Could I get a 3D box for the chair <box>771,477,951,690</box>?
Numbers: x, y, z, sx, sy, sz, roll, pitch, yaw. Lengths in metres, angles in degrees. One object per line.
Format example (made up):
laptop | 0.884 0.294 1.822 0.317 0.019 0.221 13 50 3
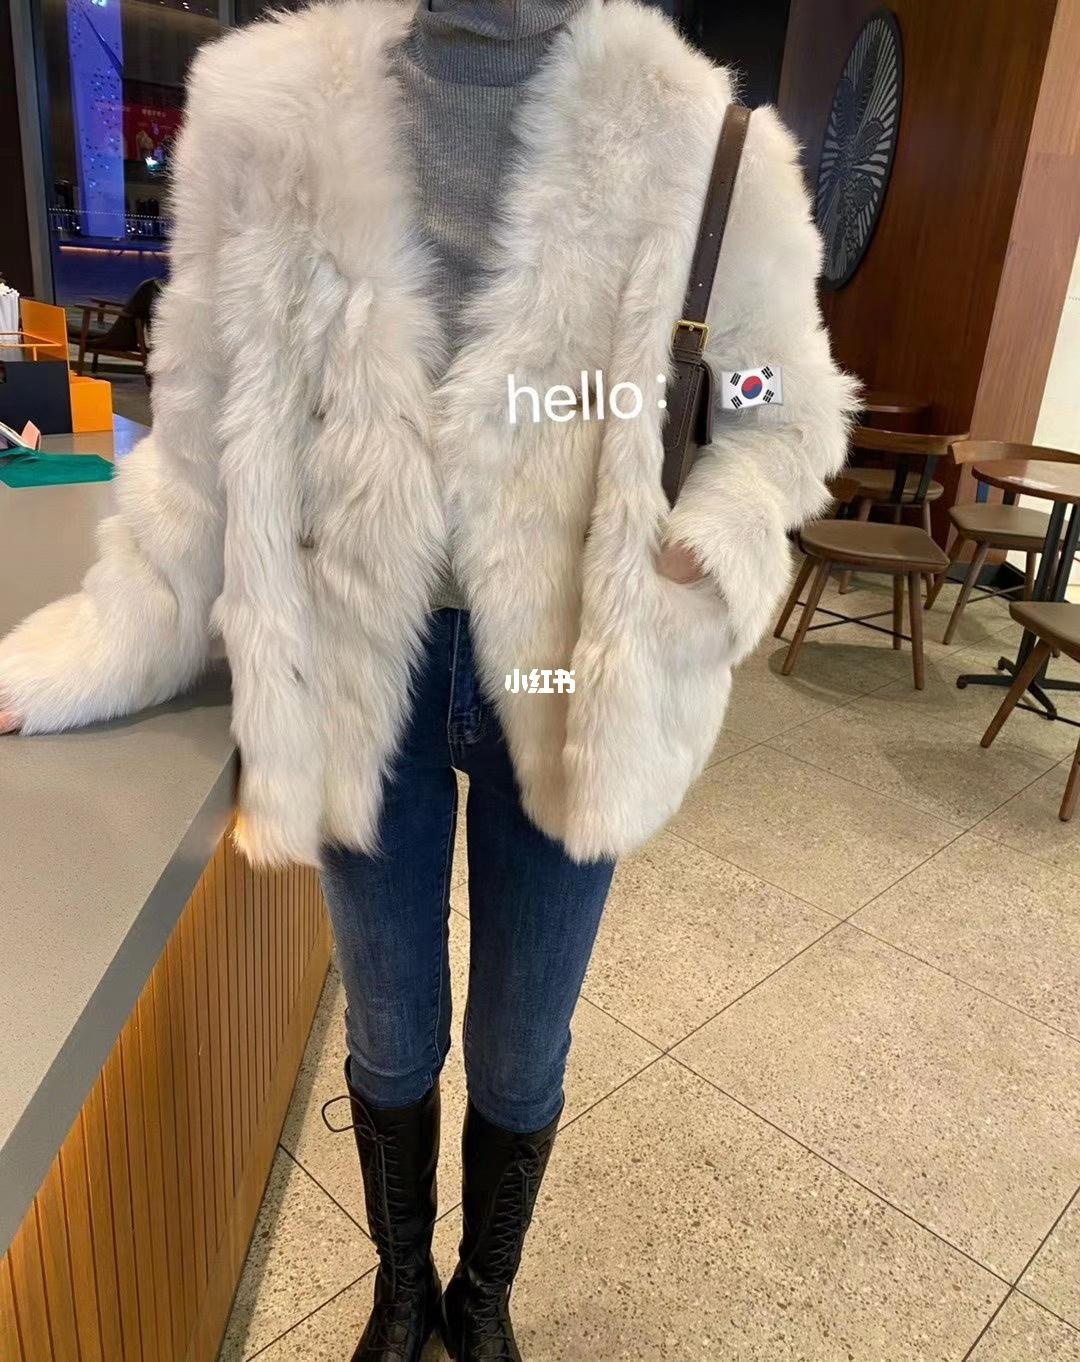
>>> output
chair | 1.209 -0.299 3.848 0.735 0.677 0.789 7 38 8
